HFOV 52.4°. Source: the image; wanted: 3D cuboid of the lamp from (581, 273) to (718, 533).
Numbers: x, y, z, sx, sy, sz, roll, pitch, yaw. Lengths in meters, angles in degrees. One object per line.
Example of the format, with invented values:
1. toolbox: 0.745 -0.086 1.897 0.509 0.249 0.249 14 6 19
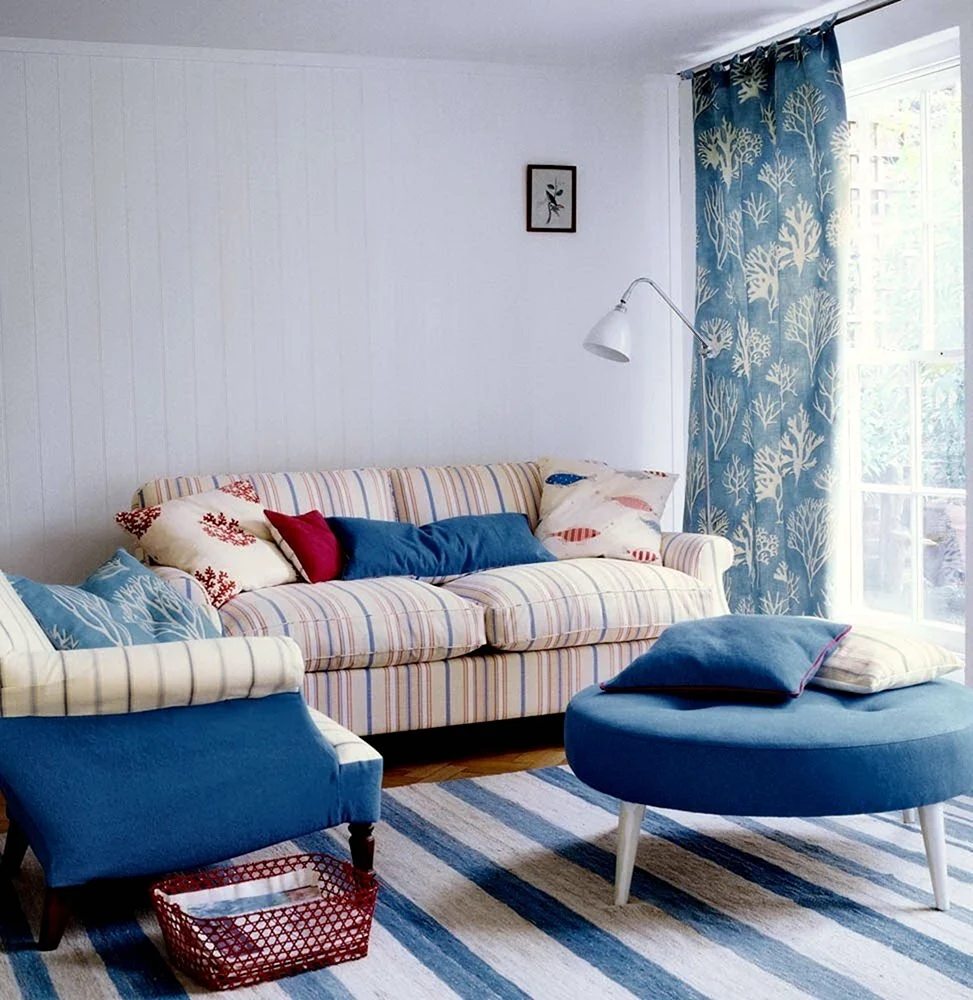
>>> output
1. lamp: 0.627 -0.302 3.935 0.572 1.055 0.193 5 4 -8

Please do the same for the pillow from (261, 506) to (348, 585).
1. pillow: -0.594 0.157 3.368 0.084 0.238 0.270 -35 -17 24
